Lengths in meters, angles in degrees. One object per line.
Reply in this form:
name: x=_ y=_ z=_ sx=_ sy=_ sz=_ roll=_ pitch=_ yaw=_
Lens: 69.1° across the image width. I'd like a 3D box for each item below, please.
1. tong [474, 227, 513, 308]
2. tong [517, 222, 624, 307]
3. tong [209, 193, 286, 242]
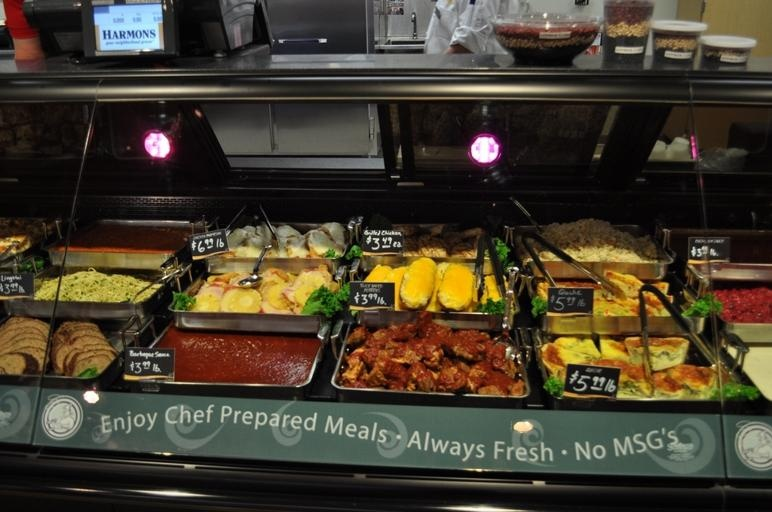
tong: x=0.532 y=0.064 z=2.982 sx=0.191 sy=0.128 sz=0.608 roll=-17 pitch=28 yaw=15
tong: x=0.919 y=0.021 z=2.989 sx=0.326 sy=0.154 sz=0.668 roll=-12 pitch=30 yaw=-20
tong: x=-0.785 y=-0.242 z=3.367 sx=0.283 sy=0.068 sz=0.266 roll=-1 pitch=43 yaw=17
